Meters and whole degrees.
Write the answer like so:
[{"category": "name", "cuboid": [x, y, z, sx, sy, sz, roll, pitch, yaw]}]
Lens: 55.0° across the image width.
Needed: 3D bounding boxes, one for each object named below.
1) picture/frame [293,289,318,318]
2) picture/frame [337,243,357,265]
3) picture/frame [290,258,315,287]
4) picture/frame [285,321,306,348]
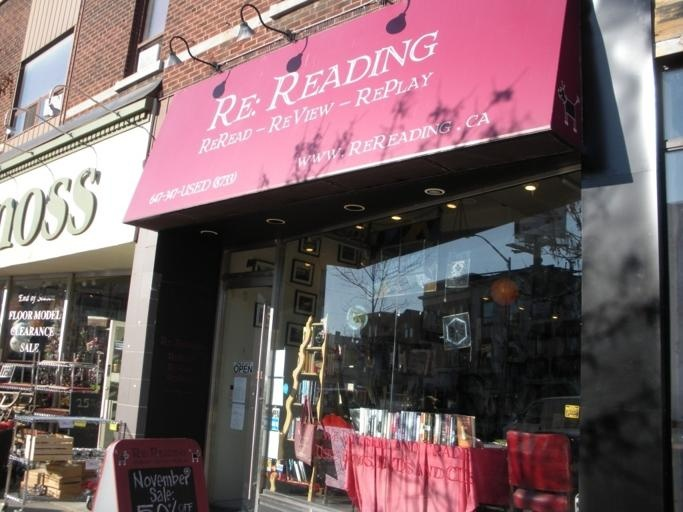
[{"category": "picture/frame", "cuboid": [-0.472, 0.630, 8.786, 0.304, 0.337, 0.023, -11, -13, 40]}, {"category": "picture/frame", "cuboid": [0.085, -0.038, 8.446, 0.216, 0.281, 0.021, -9, -13, 44]}, {"category": "picture/frame", "cuboid": [-0.510, 0.217, 8.863, 0.331, 0.375, 0.024, 2, -2, 38]}, {"category": "picture/frame", "cuboid": [-0.610, 1.043, 8.811, 0.310, 0.403, 0.025, -2, -8, 36]}]
